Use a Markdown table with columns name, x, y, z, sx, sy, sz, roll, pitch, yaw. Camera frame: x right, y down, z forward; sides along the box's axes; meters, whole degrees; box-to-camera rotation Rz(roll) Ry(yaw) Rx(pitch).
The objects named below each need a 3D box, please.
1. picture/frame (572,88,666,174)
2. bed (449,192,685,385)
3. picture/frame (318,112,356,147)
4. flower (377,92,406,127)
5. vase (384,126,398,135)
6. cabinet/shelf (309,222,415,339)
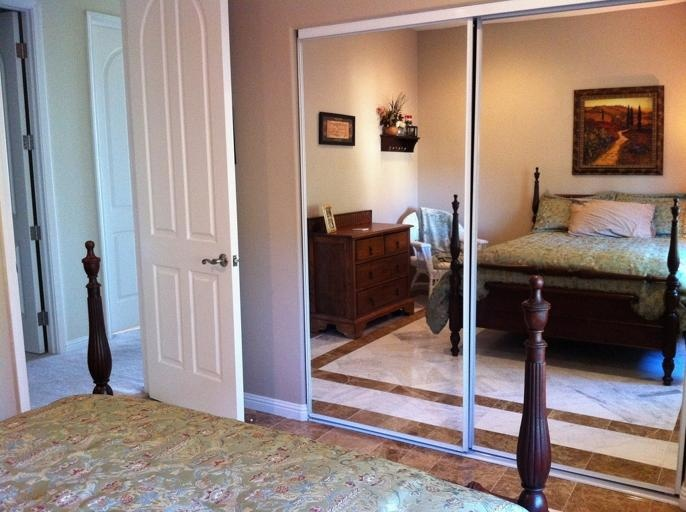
| name | x | y | z | sx | sy | sz | roll | pitch | yaw |
| --- | --- | --- | --- | --- | --- | --- | --- | --- | --- |
| picture/frame | 1.366 | -0.615 | 2.660 | 0.445 | 0.450 | 0.034 | 4 | 9 | 32 |
| bed | 1.399 | 0.090 | 3.150 | 0.915 | 0.834 | 1.087 | 4 | 6 | 33 |
| picture/frame | -0.031 | -0.791 | 3.376 | 0.228 | 0.186 | 0.018 | 4 | 6 | 18 |
| flower | 0.285 | -0.839 | 3.206 | 0.158 | 0.177 | 0.093 | -5 | -13 | 29 |
| vase | 0.287 | -0.737 | 3.216 | 0.059 | 0.038 | 0.059 | 5 | 11 | 27 |
| cabinet/shelf | 0.137 | 0.146 | 3.464 | 0.430 | 0.716 | 0.671 | 6 | 12 | 41 |
